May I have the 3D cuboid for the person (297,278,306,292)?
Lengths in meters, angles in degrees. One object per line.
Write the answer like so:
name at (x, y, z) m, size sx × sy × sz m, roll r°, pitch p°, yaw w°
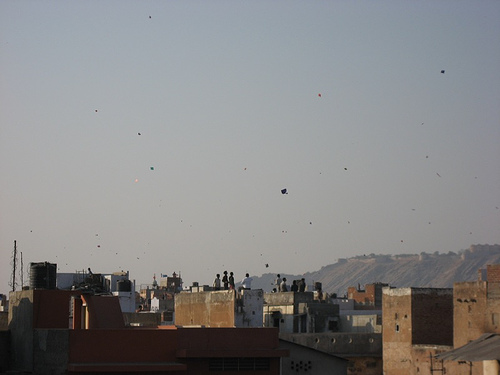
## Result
person at (4.829, 9.112, 116.092) m, size 0.690 × 1.047 × 2.592 m, roll -11°, pitch 2°, yaw 4°

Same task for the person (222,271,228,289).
person at (-1.942, 7.917, 106.239) m, size 0.365 × 1.194 × 0.785 m, roll -10°, pitch 2°, yaw 2°
